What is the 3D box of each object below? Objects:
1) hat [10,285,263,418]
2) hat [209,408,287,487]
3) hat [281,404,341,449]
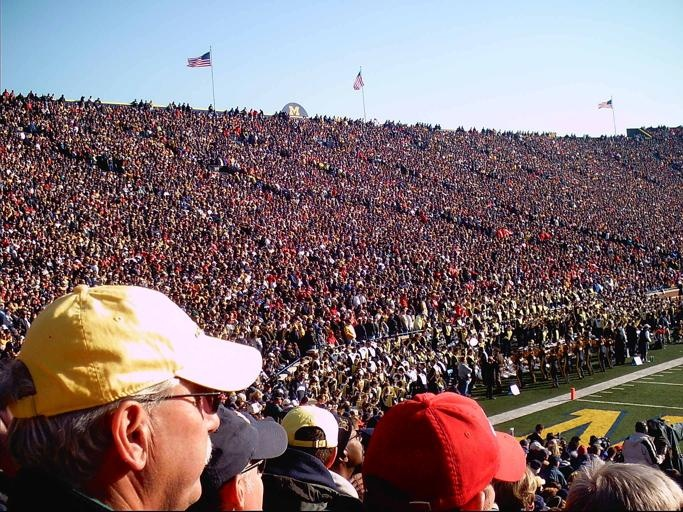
[{"bbox_3d":[-0.974,0.421,3.628,0.879,0.466,0.611,3,-1,-18],"label":"hat"},{"bbox_3d":[-0.533,1.088,4.397,0.325,0.431,0.657,5,-10,8],"label":"hat"},{"bbox_3d":[-0.222,1.202,5.466,0.391,0.277,0.350,7,-10,-4],"label":"hat"}]
